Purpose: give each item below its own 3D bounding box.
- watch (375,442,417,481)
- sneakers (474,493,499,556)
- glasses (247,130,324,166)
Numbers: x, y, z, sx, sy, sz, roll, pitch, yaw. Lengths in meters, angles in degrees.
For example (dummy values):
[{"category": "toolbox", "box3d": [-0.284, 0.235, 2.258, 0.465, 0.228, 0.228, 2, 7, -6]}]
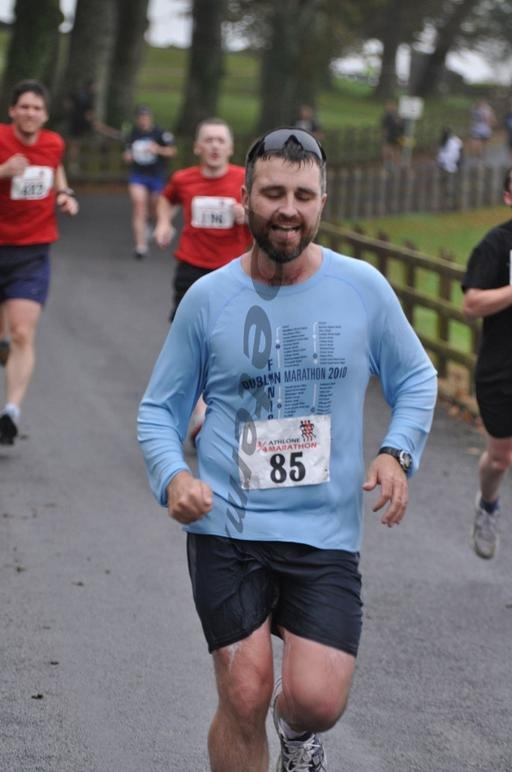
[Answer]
[{"category": "watch", "box3d": [0.280, 0.140, 1.442, 0.072, 0.076, 0.049, -1, 42, 33]}, {"category": "sneakers", "box3d": [1.124, 0.699, 3.674, 0.111, 0.317, 0.138, 0, 11, 6]}, {"category": "glasses", "box3d": [0.053, -0.437, 1.331, 0.087, 0.082, 0.026, 1, 62, -2]}]
